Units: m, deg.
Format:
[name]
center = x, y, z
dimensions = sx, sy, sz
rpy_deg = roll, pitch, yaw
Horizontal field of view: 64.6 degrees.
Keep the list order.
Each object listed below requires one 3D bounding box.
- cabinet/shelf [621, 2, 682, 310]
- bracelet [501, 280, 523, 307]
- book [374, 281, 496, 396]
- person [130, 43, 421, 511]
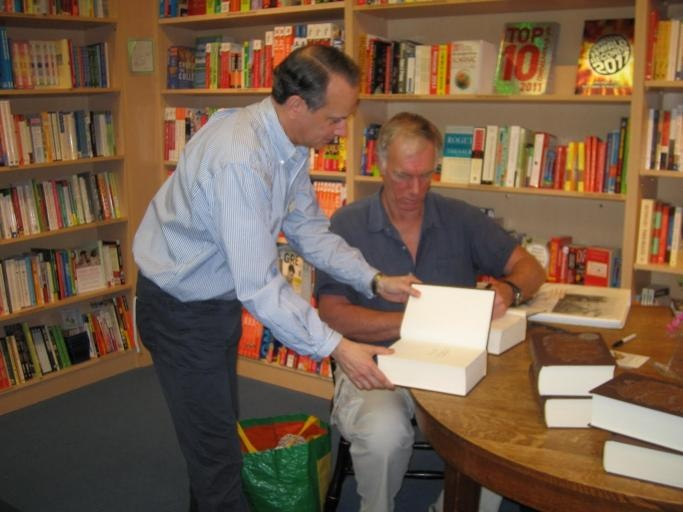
[cabinet/shelf]
center = 1.442, -0.526, 2.640
dimensions = 0.098, 1.377, 0.178
rpy_deg = 0, 14, 4
[bracelet]
center = 0.638, 0.143, 2.058
dimensions = 0.071, 0.109, 0.095
rpy_deg = -7, 8, -38
[book]
center = 0.297, 0.249, 1.646
dimensions = 0.299, 0.221, 0.325
rpy_deg = 9, 30, 28
[person]
center = -0.294, 0.248, 1.962
dimensions = 0.932, 1.918, 0.707
rpy_deg = 1, 14, 5
